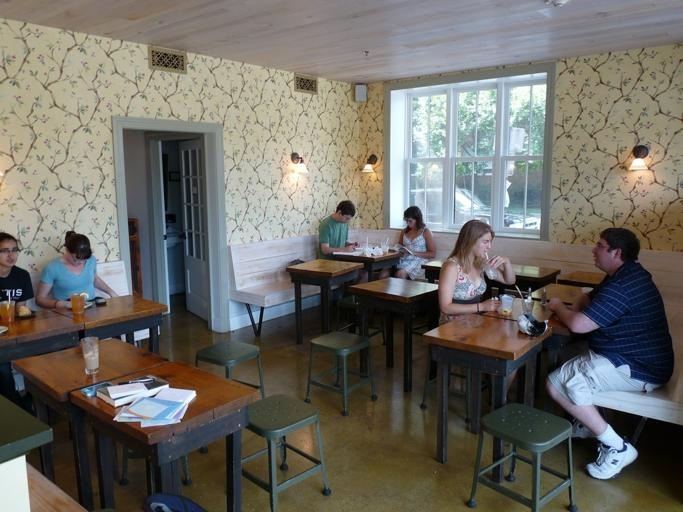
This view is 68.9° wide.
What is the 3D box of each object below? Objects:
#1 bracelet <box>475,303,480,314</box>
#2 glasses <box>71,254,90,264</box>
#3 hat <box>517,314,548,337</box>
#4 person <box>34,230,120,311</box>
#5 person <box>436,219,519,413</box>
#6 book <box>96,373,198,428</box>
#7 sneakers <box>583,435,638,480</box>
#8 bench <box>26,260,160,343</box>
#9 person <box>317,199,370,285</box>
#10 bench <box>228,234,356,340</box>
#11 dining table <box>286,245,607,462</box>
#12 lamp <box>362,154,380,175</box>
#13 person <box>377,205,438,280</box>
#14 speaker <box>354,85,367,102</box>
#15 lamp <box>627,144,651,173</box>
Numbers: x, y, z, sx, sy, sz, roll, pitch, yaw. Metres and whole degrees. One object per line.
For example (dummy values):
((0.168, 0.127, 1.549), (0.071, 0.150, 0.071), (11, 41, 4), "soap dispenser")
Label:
((1.017, 0.384, 3.717), (0.013, 0.046, 0.051), (5, 0, -16), "bracelet")
((-2.105, 0.030, 3.980), (0.127, 0.046, 0.097), (10, 14, 31), "glasses")
((1.222, 0.449, 3.180), (0.201, 0.174, 0.121), (-2, -4, 4), "hat")
((-2.177, 0.206, 4.096), (0.481, 0.760, 0.596), (17, 19, 41), "person")
((1.079, 0.101, 3.972), (0.546, 0.797, 0.780), (1, 12, 19), "person")
((-0.942, 0.696, 2.413), (0.256, 0.032, 0.239), (7, 11, 30), "book")
((1.760, 1.283, 3.197), (0.358, 0.242, 0.124), (-5, 12, -14), "sneakers")
((-2.391, 0.374, 5.113), (0.930, 1.073, 0.734), (9, 11, 44), "bench")
((-0.021, -0.209, 6.283), (0.577, 0.891, 0.591), (14, 19, 29), "person")
((-0.713, 0.336, 6.345), (0.605, 0.907, 1.717), (12, 12, 25), "bench")
((0.590, 0.894, 5.079), (2.159, 0.755, 1.519), (8, 15, 41), "dining table")
((0.383, -1.350, 7.262), (0.119, 0.289, 0.330), (-14, 15, -42), "lamp")
((0.820, -0.021, 6.263), (0.528, 1.115, 0.750), (12, 18, 41), "person")
((0.269, -2.337, 7.104), (0.225, 0.270, 0.158), (2, 13, 4), "speaker")
((3.195, -1.055, 5.335), (0.197, 0.290, 0.098), (2, 13, 24), "lamp")
